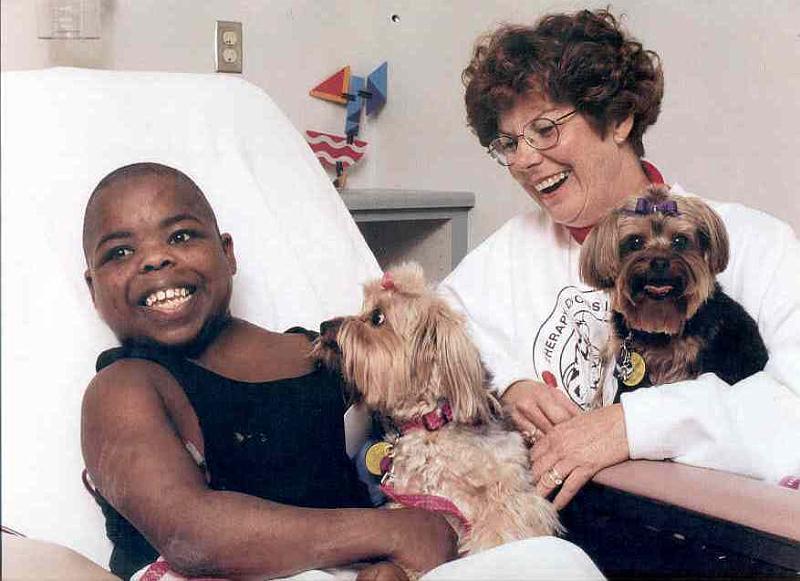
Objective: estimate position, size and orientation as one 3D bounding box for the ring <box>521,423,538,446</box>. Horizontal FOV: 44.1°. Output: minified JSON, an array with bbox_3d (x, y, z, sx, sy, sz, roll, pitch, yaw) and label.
[{"bbox_3d":[0.286,0.316,2.179,0.030,0.042,0.017,-1,-11,2],"label":"ring"}]

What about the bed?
[{"bbox_3d":[-0.109,0.036,2.074,1.563,0.931,0.924,6,12,34],"label":"bed"}]

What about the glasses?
[{"bbox_3d":[0.333,-0.355,2.320,0.254,0.067,0.232,-17,0,-33],"label":"glasses"}]

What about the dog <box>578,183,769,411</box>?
[{"bbox_3d":[0.648,0.047,2.341,0.365,0.542,0.555,3,-2,37],"label":"dog"}]

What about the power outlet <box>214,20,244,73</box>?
[{"bbox_3d":[-0.396,-0.566,2.299,0.072,0.117,0.041,-6,14,-28],"label":"power outlet"}]

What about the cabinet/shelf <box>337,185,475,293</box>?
[{"bbox_3d":[0.008,-0.174,2.463,0.302,0.300,0.222,-5,9,-30],"label":"cabinet/shelf"}]

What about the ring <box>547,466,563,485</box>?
[{"bbox_3d":[0.327,0.390,2.104,0.027,0.031,0.035,-5,-11,1],"label":"ring"}]
